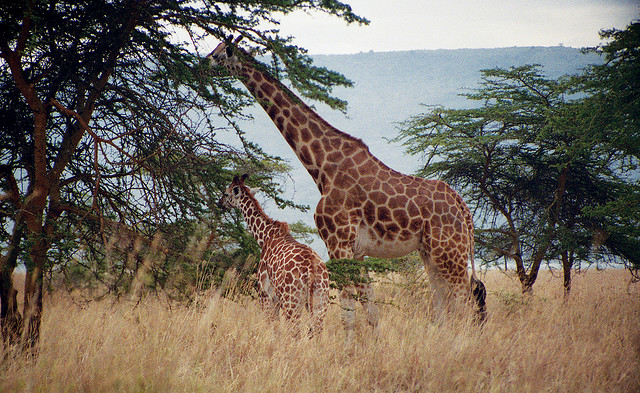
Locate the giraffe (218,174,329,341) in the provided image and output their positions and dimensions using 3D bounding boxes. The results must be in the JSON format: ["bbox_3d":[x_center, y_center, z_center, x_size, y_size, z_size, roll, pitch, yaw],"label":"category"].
[{"bbox_3d":[-1.108,1.584,25.351,1.172,4.424,3.046,-2,4,-39],"label":"giraffe"}]
